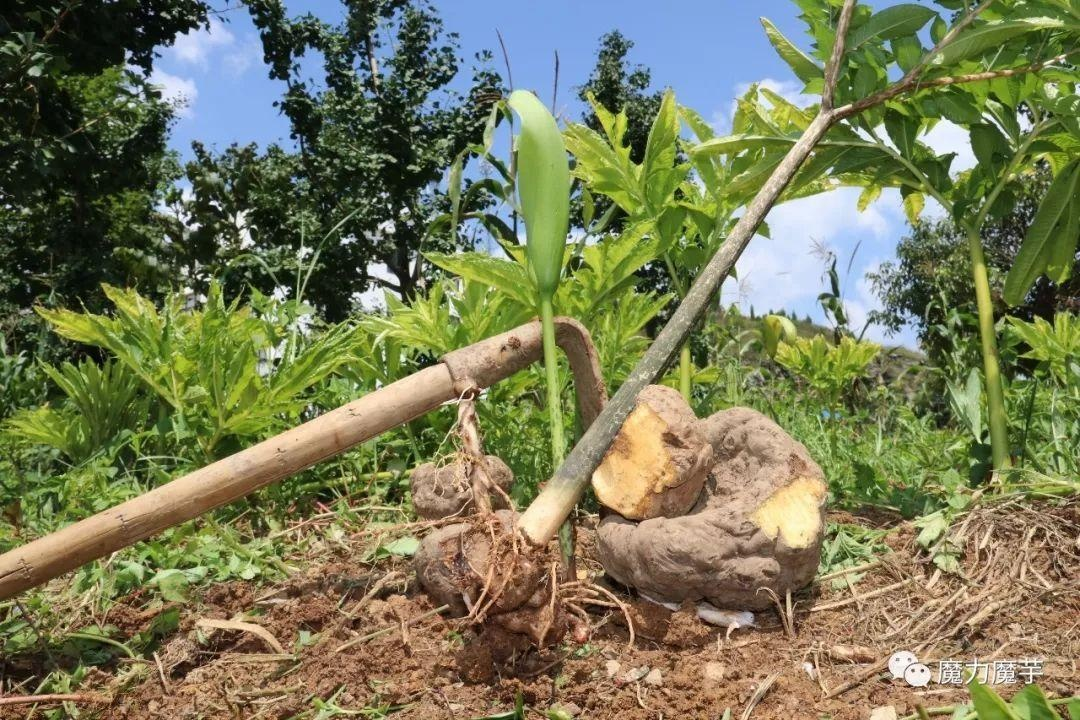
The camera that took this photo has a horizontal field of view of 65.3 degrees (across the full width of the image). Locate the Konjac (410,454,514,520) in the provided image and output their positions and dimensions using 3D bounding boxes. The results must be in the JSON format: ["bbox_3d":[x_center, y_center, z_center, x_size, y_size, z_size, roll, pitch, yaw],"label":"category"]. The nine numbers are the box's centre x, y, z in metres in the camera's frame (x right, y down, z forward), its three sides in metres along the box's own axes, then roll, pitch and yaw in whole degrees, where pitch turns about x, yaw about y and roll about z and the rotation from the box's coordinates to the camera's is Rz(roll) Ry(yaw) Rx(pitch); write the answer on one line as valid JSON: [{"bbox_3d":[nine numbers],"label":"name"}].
[{"bbox_3d":[-0.420,0.622,4.292,0.448,0.369,0.218,-14,-23,-9],"label":"Konjac"}]

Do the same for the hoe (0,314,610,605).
[{"bbox_3d":[-1.197,0.548,4.508,2.962,0.456,0.527,-18,26,-12],"label":"hoe"}]

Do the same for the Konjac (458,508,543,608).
[{"bbox_3d":[-0.189,0.861,3.672,0.306,0.425,0.186,-4,-8,6],"label":"Konjac"}]
